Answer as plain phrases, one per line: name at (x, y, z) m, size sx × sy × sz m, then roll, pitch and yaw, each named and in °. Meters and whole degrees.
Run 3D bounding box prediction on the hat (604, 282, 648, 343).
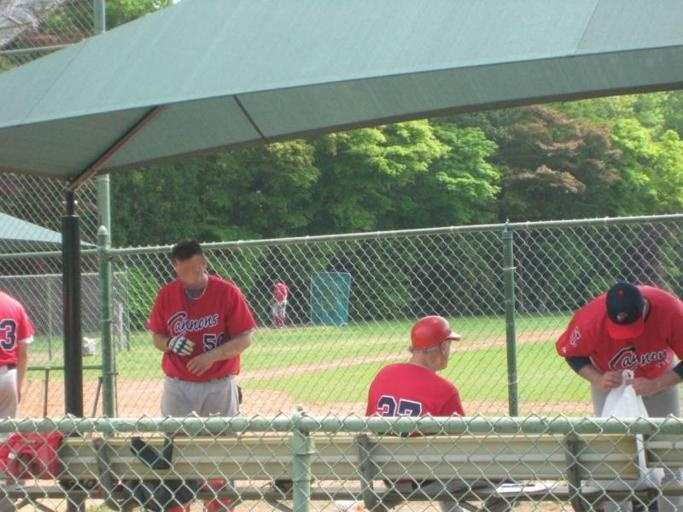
hat at (5.579, 1.100, 39.093) m, size 0.679 × 1.134 × 0.627 m, roll -1°, pitch -8°, yaw 21°
